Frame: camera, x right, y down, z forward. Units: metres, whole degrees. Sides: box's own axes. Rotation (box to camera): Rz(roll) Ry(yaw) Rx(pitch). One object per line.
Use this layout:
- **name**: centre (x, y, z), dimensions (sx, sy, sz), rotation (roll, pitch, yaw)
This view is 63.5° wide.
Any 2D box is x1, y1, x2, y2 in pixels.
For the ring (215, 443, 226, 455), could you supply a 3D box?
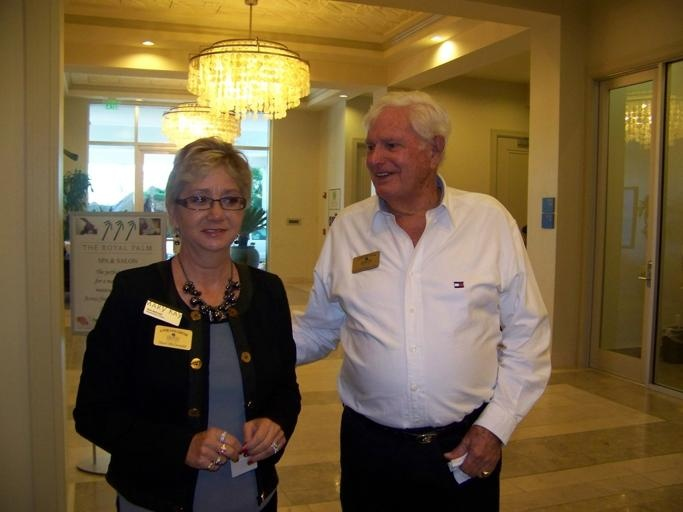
- **ring**: centre (-0.412, 0.661, 1.892), dimensions (0.025, 0.035, 0.010), rotation (0, -4, 4)

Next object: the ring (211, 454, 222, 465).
- **ring**: centre (-0.429, 0.701, 1.899), dimensions (0.029, 0.022, 0.010), rotation (-37, 52, -5)

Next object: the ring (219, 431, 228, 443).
- **ring**: centre (-0.408, 0.626, 1.902), dimensions (0.033, 0.046, 0.025), rotation (6, 26, -2)

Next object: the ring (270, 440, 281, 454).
- **ring**: centre (-0.239, 0.698, 2.011), dimensions (0.019, 0.039, 0.051), rotation (7, -31, -44)

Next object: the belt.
- **belt**: centre (0.296, 0.697, 2.274), dimensions (0.571, 0.144, 0.157), rotation (2, 7, 8)

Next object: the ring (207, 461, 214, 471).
- **ring**: centre (-0.448, 0.730, 1.909), dimensions (0.007, 0.028, 0.028), rotation (14, 51, 15)

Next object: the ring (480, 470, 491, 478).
- **ring**: centre (0.572, 0.860, 2.185), dimensions (0.034, 0.018, 0.046), rotation (-4, -6, 3)
